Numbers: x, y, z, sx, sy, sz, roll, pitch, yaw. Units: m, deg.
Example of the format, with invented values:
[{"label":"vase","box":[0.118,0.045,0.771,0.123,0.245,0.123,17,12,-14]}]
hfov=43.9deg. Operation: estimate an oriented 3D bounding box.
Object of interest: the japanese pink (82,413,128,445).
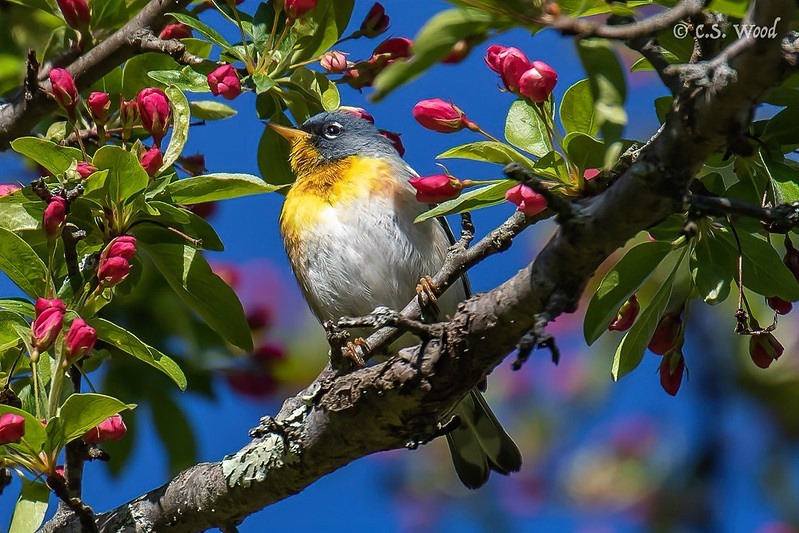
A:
[{"label":"japanese pink","box":[-1.390,0.788,4.747,0.173,0.089,0.134,-20,-9,21]}]
